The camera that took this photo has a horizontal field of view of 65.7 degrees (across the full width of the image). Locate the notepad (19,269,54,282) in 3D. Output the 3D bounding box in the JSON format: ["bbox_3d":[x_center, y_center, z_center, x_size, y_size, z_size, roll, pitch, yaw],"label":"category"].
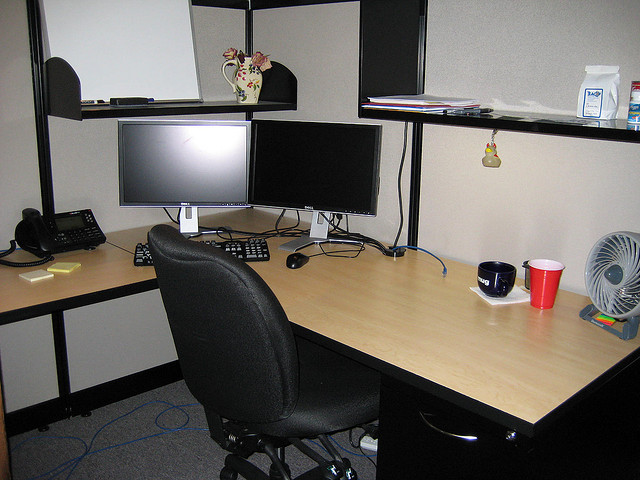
[{"bbox_3d":[-1.068,0.130,1.862,0.099,0.019,0.090,13,23,35],"label":"notepad"}]

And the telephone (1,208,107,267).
[{"bbox_3d":[-1.078,-0.024,2.038,0.255,0.137,0.310,28,25,30],"label":"telephone"}]

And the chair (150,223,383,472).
[{"bbox_3d":[-0.196,0.252,1.755,0.754,0.914,0.646,-12,20,-37],"label":"chair"}]

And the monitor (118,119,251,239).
[{"bbox_3d":[-0.609,-0.287,2.197,0.524,0.485,0.165,0,9,-13],"label":"monitor"}]

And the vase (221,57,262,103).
[{"bbox_3d":[-0.374,-0.760,2.334,0.200,0.212,0.131,-4,19,-18],"label":"vase"}]

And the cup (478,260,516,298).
[{"bbox_3d":[0.604,0.147,1.691,0.114,0.108,0.150,3,15,17],"label":"cup"}]

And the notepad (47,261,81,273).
[{"bbox_3d":[-0.999,0.104,1.928,0.104,0.018,0.075,1,19,5],"label":"notepad"}]

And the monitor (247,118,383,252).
[{"bbox_3d":[-0.012,-0.249,2.151,0.496,0.453,0.262,7,15,21],"label":"monitor"}]

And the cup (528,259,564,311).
[{"bbox_3d":[0.737,0.146,1.648,0.113,0.140,0.101,-12,19,-37],"label":"cup"}]

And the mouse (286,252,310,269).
[{"bbox_3d":[-0.088,0.073,1.974,0.074,0.044,0.127,7,20,22],"label":"mouse"}]
